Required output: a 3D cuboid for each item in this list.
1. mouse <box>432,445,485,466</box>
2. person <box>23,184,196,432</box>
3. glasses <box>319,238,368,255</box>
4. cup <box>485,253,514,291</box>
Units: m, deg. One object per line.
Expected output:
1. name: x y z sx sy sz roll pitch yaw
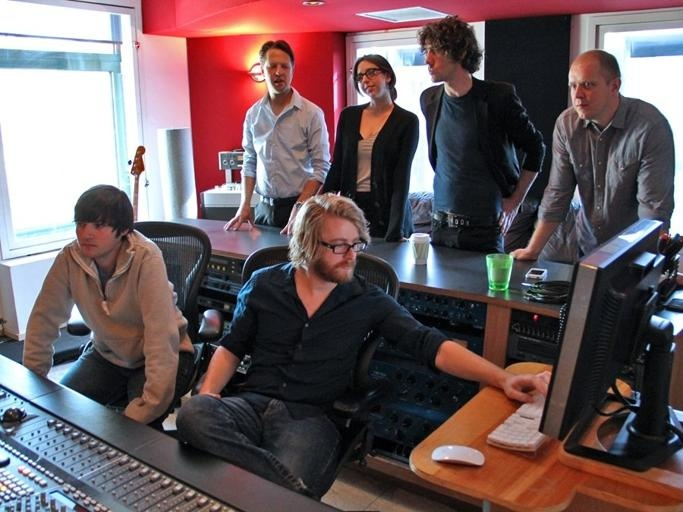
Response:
1. mouse: 0.307 0.511 1.330 0.110 0.026 0.054 1 13 23
2. person: -0.937 0.184 2.113 0.626 0.952 0.428 3 11 19
3. glasses: 0.015 -0.040 1.889 0.197 0.054 0.066 -8 13 -38
4. cup: 0.694 0.064 2.282 0.147 0.170 0.146 -2 8 0
